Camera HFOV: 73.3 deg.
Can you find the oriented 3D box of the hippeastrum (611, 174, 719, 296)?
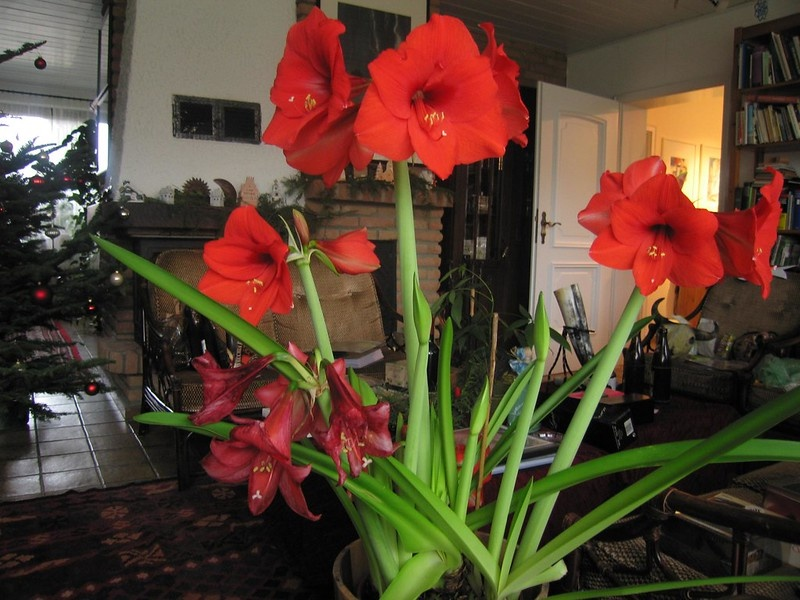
[{"bbox_3d":[0.236,-0.058,0.470,0.088,0.103,0.064,0,8,28],"label":"hippeastrum"}]

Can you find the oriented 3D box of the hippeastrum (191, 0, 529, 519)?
[{"bbox_3d":[-0.010,-0.087,0.750,0.403,0.666,0.333,0,5,-1],"label":"hippeastrum"}]
